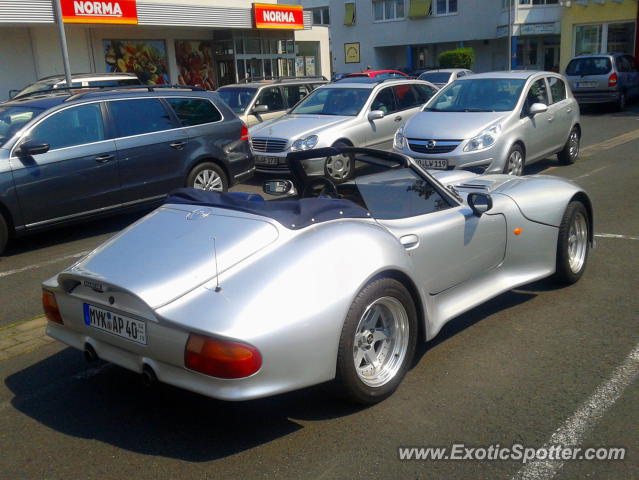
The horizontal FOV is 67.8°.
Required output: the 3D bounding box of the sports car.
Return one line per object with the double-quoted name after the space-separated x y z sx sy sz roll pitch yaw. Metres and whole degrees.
0.455 -0.054 3.944 2.081 1.220 3.938 16 27 42 "sports car"
